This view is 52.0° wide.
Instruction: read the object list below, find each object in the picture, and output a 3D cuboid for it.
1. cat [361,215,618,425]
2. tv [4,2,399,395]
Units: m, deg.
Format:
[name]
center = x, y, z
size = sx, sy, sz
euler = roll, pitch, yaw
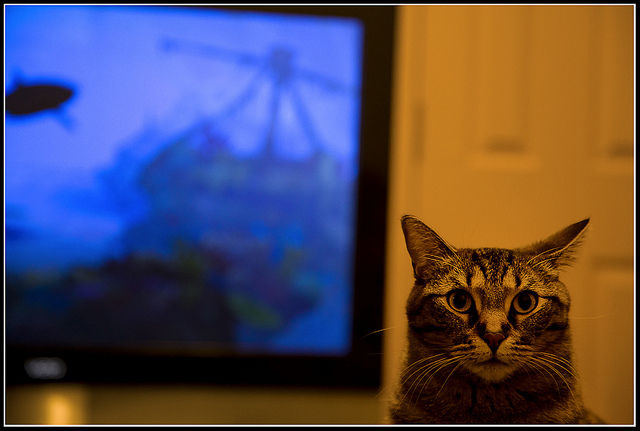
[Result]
[cat]
center = 0.508, 0.324, 2.016
size = 0.559, 0.606, 0.455
euler = 0, 63, 2
[tv]
center = -0.407, -0.042, 2.076
size = 1.271, 1.158, 0.121
euler = 2, 1, -12
